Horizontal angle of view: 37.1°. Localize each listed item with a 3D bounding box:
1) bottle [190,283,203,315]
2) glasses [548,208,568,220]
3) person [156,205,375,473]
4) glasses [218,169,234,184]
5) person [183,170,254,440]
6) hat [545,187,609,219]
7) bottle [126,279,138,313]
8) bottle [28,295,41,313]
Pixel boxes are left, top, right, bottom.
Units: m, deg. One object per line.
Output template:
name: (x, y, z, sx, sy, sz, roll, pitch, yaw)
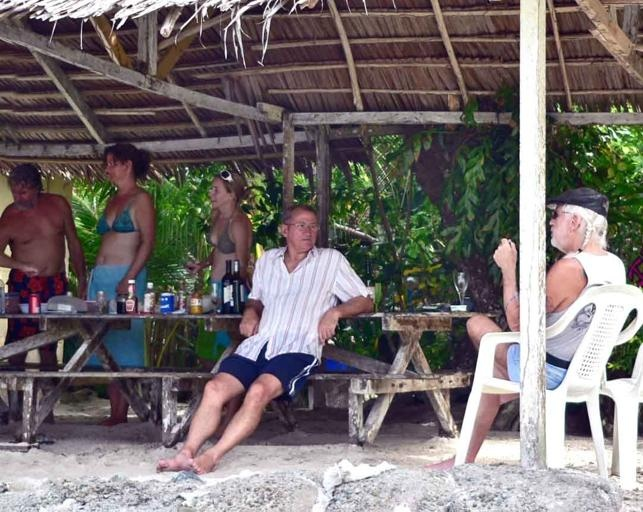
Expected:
bottle: (-0.976, 0.333, 7.460, 0.130, 0.262, 0.140, 1, 3, 0)
glasses: (1.478, -0.257, 6.019, 0.142, 0.054, 0.146, 11, -1, -7)
person: (-0.326, 0.463, 6.191, 0.762, 1.613, 1.440, 3, 1, 32)
glasses: (-0.730, -0.597, 7.309, 0.115, 0.092, 0.061, 2, 1, -10)
person: (-0.772, 0.295, 7.553, 0.497, 1.940, 0.494, -5, 18, -18)
hat: (1.514, -0.325, 5.634, 0.269, 0.124, 0.207, 12, 0, 16)
bottle: (-1.337, 0.288, 6.747, 0.076, 0.217, 0.191, 2, 1, -12)
bottle: (-2.047, 0.339, 6.849, 0.085, 0.124, 0.192, 1, 2, -33)
